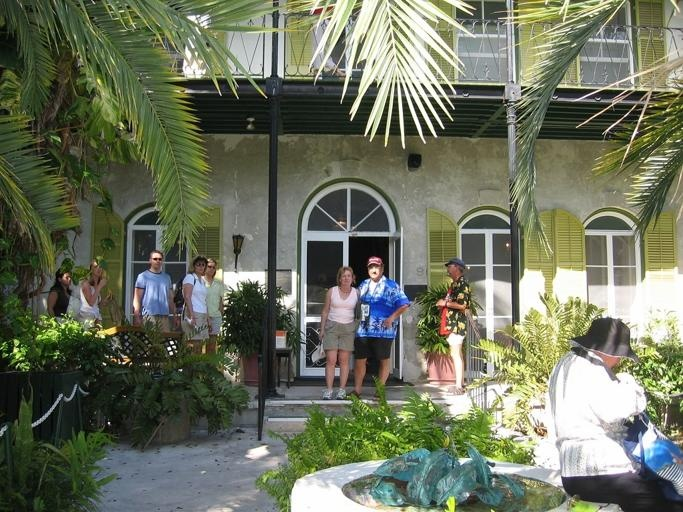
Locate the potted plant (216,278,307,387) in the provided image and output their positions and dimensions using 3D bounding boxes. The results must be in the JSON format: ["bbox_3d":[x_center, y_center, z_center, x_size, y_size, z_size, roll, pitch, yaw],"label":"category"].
[{"bbox_3d":[-1.272,1.156,11.997,1.185,1.625,1.007,0,2,-37],"label":"potted plant"}]

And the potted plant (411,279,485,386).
[{"bbox_3d":[1.474,1.218,12.193,1.309,1.932,1.257,1,-3,-7],"label":"potted plant"}]

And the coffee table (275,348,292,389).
[{"bbox_3d":[-0.953,1.717,11.483,0.334,0.569,0.399,0,-7,0],"label":"coffee table"}]

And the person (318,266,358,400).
[{"bbox_3d":[-0.023,0.986,9.778,0.460,1.331,0.728,3,-2,10],"label":"person"}]

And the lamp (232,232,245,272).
[{"bbox_3d":[-1.712,-0.038,12.604,0.214,0.536,0.224,4,-2,-10],"label":"lamp"}]

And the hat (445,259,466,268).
[{"bbox_3d":[1.597,0.104,10.614,0.191,0.100,0.140,1,-6,12],"label":"hat"}]

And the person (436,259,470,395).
[{"bbox_3d":[1.545,0.954,10.555,0.425,1.289,0.514,3,-2,9],"label":"person"}]

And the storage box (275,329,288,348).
[{"bbox_3d":[-0.867,1.238,11.234,0.203,0.326,0.296,0,2,0],"label":"storage box"}]

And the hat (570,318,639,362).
[{"bbox_3d":[1.926,0.603,5.487,0.304,0.219,0.377,18,3,-2],"label":"hat"}]
